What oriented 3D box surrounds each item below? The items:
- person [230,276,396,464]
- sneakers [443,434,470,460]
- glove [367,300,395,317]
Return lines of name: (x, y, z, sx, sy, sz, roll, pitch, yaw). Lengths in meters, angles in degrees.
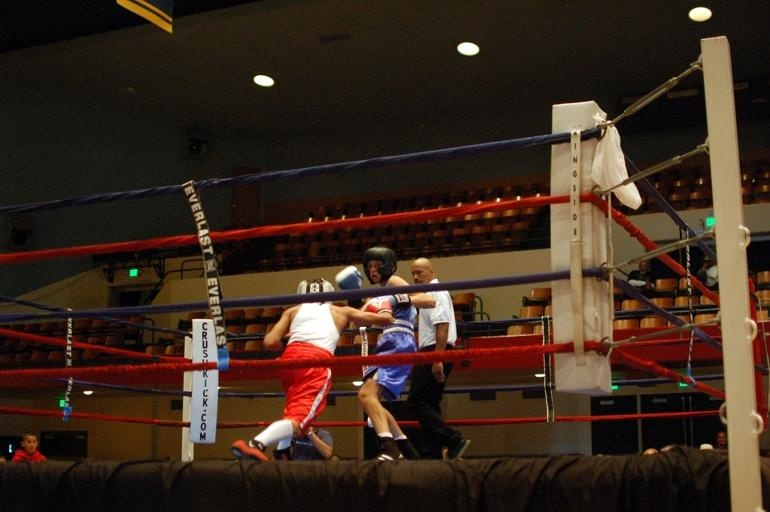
person: (-0.618, 1.052, 8.028, 1.062, 1.919, 1.472, 2, 15, 15)
sneakers: (0.649, 1.743, 8.417, 0.221, 0.186, 0.226, -1, 14, 3)
glove: (-0.048, 0.474, 8.418, 0.174, 0.070, 0.164, 0, 11, -5)
